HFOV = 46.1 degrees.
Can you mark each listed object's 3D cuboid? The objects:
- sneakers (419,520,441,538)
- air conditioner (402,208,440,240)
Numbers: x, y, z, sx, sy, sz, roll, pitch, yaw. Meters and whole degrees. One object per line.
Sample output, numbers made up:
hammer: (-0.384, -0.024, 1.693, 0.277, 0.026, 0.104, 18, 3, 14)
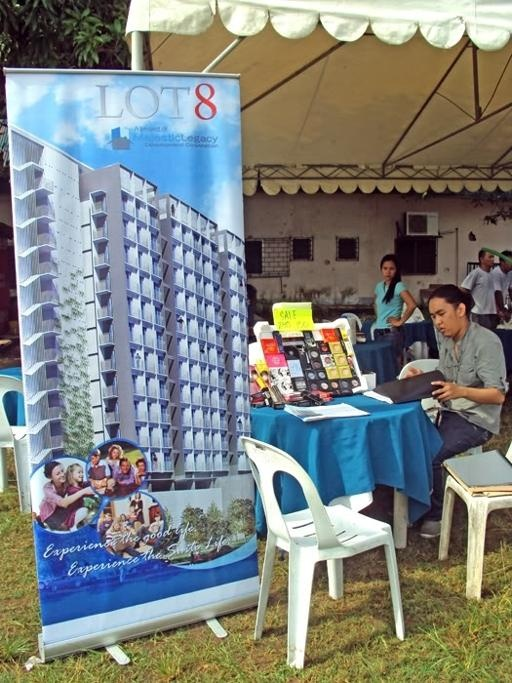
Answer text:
sneakers: (0.945, 1.028, 3.297, 0.062, 0.077, 0.133, 1, -2, 45)
air conditioner: (3.469, -2.460, 12.727, 0.915, 0.607, 0.473, 0, -2, -16)
